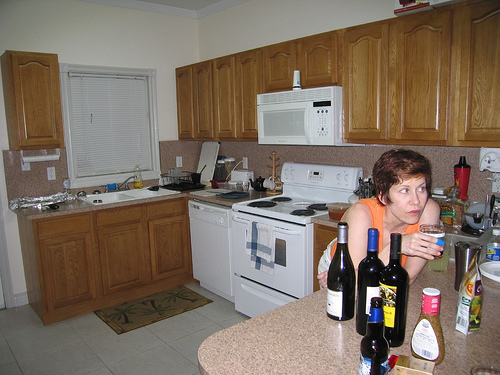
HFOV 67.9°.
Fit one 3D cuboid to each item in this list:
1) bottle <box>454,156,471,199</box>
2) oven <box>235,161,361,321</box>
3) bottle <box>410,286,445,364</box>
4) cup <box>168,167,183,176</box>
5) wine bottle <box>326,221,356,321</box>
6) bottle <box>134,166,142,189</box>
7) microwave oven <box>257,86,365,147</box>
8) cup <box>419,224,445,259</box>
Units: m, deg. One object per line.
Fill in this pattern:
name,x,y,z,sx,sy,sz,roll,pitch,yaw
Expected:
bottle,1.573,-0.065,2.761,0.114,0.320,0.198,6,14,30
oven,0.404,0.568,3.488,0.783,1.544,0.982,-8,10,-33
bottle,0.592,0.457,1.231,0.103,0.252,0.070,4,13,25
cup,-0.909,-0.201,4.546,0.084,0.106,0.151,0,6,43
wine bottle,0.341,0.309,1.463,0.118,0.378,0.110,-1,4,0
bottle,-1.342,-0.119,4.421,0.089,0.261,0.143,-5,13,-17
microwave oven,0.450,-0.646,3.408,0.195,0.500,0.914,-13,17,-43
cup,0.733,0.176,1.496,0.094,0.052,0.156,4,13,25
